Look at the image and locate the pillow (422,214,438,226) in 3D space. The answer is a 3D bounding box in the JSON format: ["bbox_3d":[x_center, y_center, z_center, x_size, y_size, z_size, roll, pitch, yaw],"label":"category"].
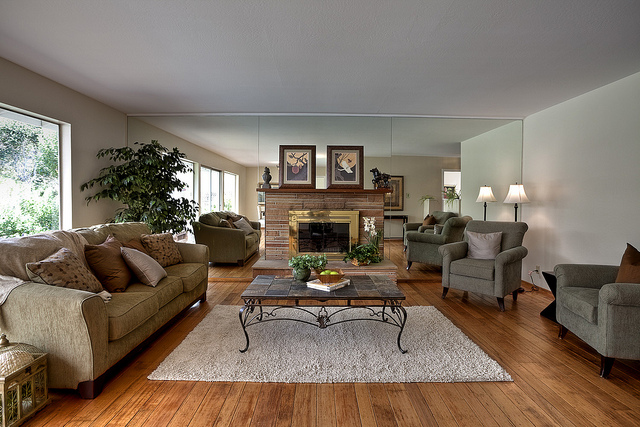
[{"bbox_3d":[1.825,0.125,6.778,0.193,0.181,0.058,1,8,-37],"label":"pillow"}]

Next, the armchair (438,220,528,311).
[{"bbox_3d":[2.228,0.621,5.498,0.861,1.018,0.948,-5,8,-42],"label":"armchair"}]

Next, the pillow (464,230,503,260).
[{"bbox_3d":[2.213,0.457,5.482,0.369,0.314,0.143,-3,-27,41],"label":"pillow"}]

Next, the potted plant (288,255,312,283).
[{"bbox_3d":[-0.229,0.632,4.559,0.286,0.280,0.264,0,-6,-4],"label":"potted plant"}]

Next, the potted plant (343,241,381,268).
[{"bbox_3d":[0.640,0.629,6.193,0.553,0.359,0.456,0,2,-1],"label":"potted plant"}]

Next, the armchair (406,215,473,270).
[{"bbox_3d":[2.010,0.514,6.780,0.941,0.963,0.856,-1,-4,22],"label":"armchair"}]

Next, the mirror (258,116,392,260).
[{"bbox_3d":[0.129,-0.452,6.322,2.306,2.256,0.254,0,-1,-2],"label":"mirror"}]

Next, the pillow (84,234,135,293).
[{"bbox_3d":[-2.168,0.530,4.344,0.416,0.506,0.821,-1,4,-5],"label":"pillow"}]

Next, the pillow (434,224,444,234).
[{"bbox_3d":[1.938,0.269,6.670,0.165,0.160,0.121,0,-3,6],"label":"pillow"}]

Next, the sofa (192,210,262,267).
[{"bbox_3d":[-1.712,0.475,8.043,0.922,0.975,2.091,0,3,1],"label":"sofa"}]

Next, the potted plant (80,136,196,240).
[{"bbox_3d":[-2.686,-0.395,6.028,1.481,1.923,1.387,-4,7,-42],"label":"potted plant"}]

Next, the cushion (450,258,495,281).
[{"bbox_3d":[1.987,0.739,5.300,0.551,0.230,0.291,1,2,29],"label":"cushion"}]

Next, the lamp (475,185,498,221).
[{"bbox_3d":[2.643,-0.169,6.461,0.317,0.561,0.292,1,3,23],"label":"lamp"}]

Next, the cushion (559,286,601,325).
[{"bbox_3d":[2.596,0.946,4.078,0.332,0.131,0.303,-3,5,-30],"label":"cushion"}]

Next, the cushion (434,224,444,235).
[{"bbox_3d":[1.937,0.277,6.670,0.158,0.166,0.125,2,3,16],"label":"cushion"}]

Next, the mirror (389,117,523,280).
[{"bbox_3d":[2.084,-0.267,6.259,2.590,3.314,0.049,1,-2,0],"label":"mirror"}]

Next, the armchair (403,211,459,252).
[{"bbox_3d":[1.768,0.286,6.754,0.781,0.818,0.718,1,-2,0],"label":"armchair"}]

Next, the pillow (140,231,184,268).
[{"bbox_3d":[-1.897,0.474,4.989,0.138,0.523,0.548,-22,-22,22],"label":"pillow"}]

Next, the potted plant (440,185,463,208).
[{"bbox_3d":[2.178,-0.255,6.808,0.306,0.312,0.310,1,5,-3],"label":"potted plant"}]

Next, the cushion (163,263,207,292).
[{"bbox_3d":[-1.572,0.748,4.874,0.338,0.145,0.309,0,6,-2],"label":"cushion"}]

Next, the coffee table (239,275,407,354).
[{"bbox_3d":[0.029,1.066,4.598,1.749,0.701,1.195,0,2,3],"label":"coffee table"}]

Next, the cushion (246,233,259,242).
[{"bbox_3d":[-1.298,0.503,8.034,0.150,0.126,0.149,0,0,-3],"label":"cushion"}]
